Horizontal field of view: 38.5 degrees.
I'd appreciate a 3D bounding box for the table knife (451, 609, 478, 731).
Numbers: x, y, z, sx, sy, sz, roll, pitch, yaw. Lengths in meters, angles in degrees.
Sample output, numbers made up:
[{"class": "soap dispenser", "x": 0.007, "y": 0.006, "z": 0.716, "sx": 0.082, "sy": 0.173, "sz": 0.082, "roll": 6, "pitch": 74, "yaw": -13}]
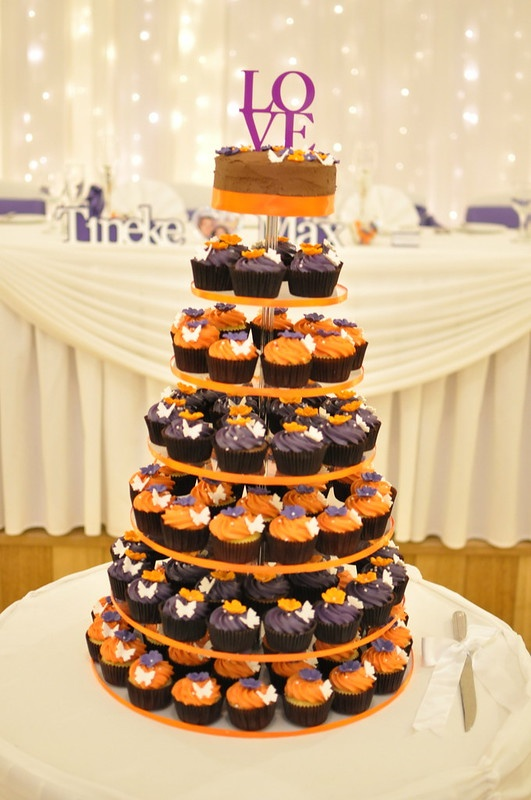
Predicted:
[{"class": "table knife", "x": 0.520, "y": 0.722, "z": 1.998, "sx": 0.048, "sy": 0.028, "sz": 0.332, "roll": 3, "pitch": 15, "yaw": 8}]
